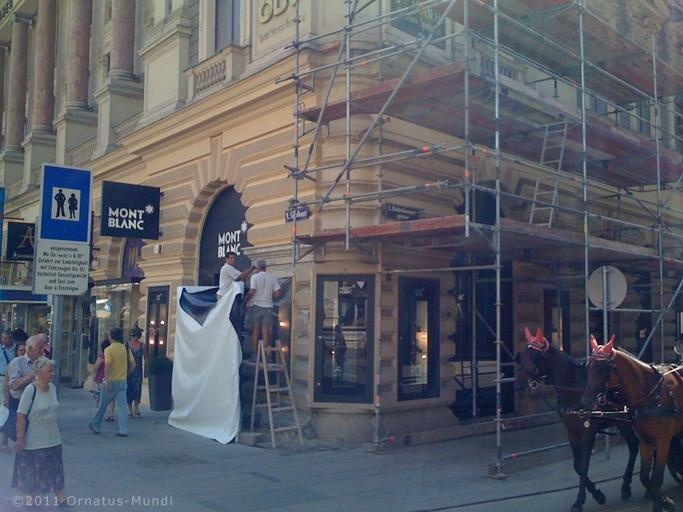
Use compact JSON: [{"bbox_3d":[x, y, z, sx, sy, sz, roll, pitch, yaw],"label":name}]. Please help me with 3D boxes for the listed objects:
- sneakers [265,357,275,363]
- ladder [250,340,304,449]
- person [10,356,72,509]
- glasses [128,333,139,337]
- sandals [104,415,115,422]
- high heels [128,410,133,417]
[{"bbox_3d":[-1.647,2.366,19.496,0.151,0.108,0.147,0,-5,-2],"label":"sneakers"},{"bbox_3d":[-1.470,3.057,19.083,1.129,2.316,1.283,2,-8,-12],"label":"ladder"},{"bbox_3d":[-5.211,3.048,14.622,0.845,2.598,0.505,4,-8,-20],"label":"person"},{"bbox_3d":[-5.435,2.040,22.094,0.180,0.129,0.175,1,-8,0],"label":"glasses"},{"bbox_3d":[-5.915,4.096,21.480,0.261,0.104,0.137,3,-3,41],"label":"sandals"},{"bbox_3d":[-5.424,4.000,21.674,0.135,0.145,0.131,-1,-6,-11],"label":"high heels"}]
